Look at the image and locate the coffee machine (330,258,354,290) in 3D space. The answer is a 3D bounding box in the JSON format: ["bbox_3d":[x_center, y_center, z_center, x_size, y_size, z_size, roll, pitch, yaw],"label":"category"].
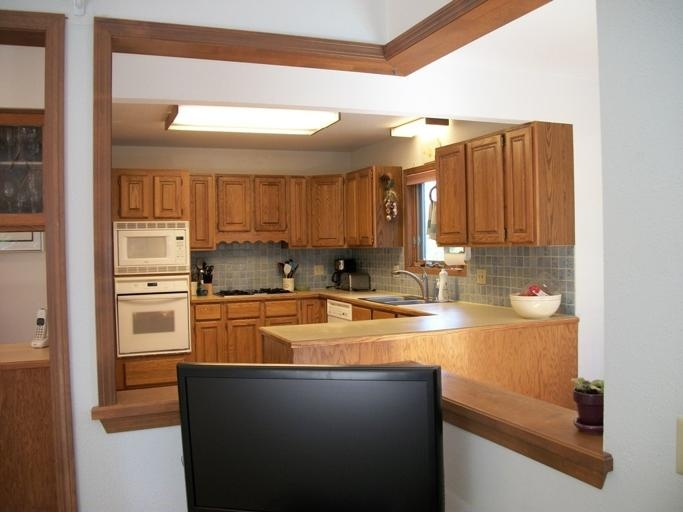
[{"bbox_3d":[0.020,0.192,6.570,0.347,0.424,0.256,1,-2,-14],"label":"coffee machine"}]

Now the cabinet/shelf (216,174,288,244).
[{"bbox_3d":[-1.036,-0.554,5.947,0.782,0.735,0.302,0,0,-19],"label":"cabinet/shelf"}]

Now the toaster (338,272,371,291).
[{"bbox_3d":[0.156,0.289,6.090,0.210,0.178,0.277,-1,3,-17],"label":"toaster"}]

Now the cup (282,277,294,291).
[{"bbox_3d":[-0.618,0.322,6.232,0.142,0.137,0.128,0,0,5],"label":"cup"}]

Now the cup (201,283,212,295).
[{"bbox_3d":[-1.507,0.366,5.973,0.105,0.146,0.148,-1,3,-35],"label":"cup"}]

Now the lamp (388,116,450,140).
[{"bbox_3d":[0.699,-1.217,4.969,0.384,0.134,0.716,-2,0,-23],"label":"lamp"}]

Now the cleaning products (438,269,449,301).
[{"bbox_3d":[0.927,0.259,4.833,0.094,0.243,0.224,-2,0,13],"label":"cleaning products"}]

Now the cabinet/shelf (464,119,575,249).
[{"bbox_3d":[1.241,-0.489,3.624,0.452,0.909,0.933,0,-2,-11],"label":"cabinet/shelf"}]

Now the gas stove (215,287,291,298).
[{"bbox_3d":[-0.992,0.402,5.994,0.814,0.072,0.652,-2,0,-17],"label":"gas stove"}]
